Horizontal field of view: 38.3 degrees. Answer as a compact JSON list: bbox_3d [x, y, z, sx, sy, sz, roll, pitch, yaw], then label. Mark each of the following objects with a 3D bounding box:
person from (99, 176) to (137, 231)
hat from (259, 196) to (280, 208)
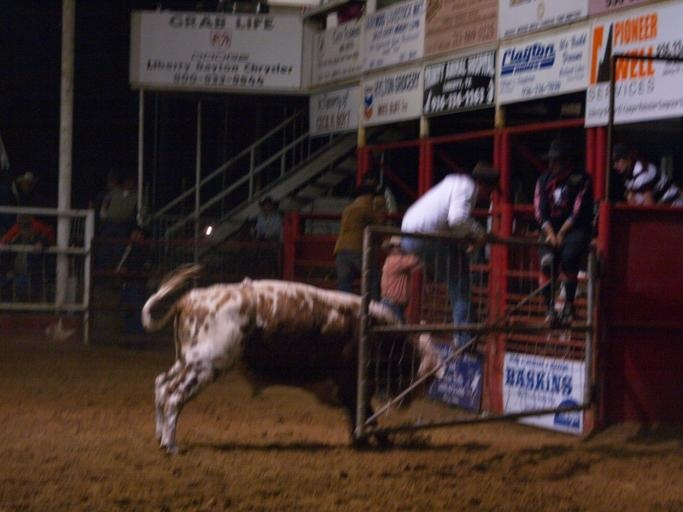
[{"bbox_3d":[-3.274,-0.755,14.434,0.552,1.066,0.535,3,-11,-9],"label":"person"},{"bbox_3d":[-1.169,-0.848,15.835,0.200,0.205,0.232,0,10,-8],"label":"hat"}]
